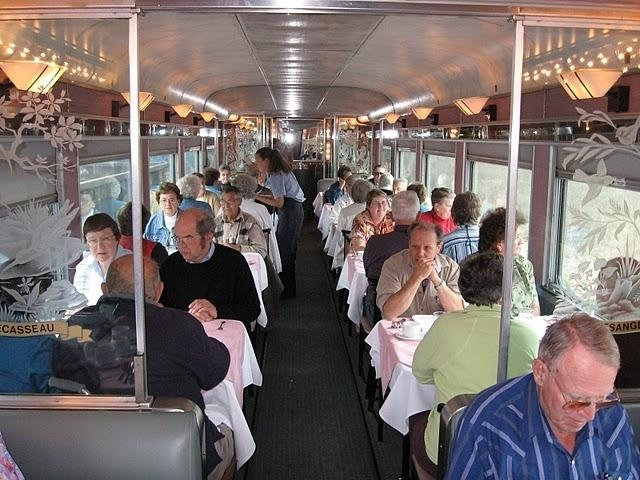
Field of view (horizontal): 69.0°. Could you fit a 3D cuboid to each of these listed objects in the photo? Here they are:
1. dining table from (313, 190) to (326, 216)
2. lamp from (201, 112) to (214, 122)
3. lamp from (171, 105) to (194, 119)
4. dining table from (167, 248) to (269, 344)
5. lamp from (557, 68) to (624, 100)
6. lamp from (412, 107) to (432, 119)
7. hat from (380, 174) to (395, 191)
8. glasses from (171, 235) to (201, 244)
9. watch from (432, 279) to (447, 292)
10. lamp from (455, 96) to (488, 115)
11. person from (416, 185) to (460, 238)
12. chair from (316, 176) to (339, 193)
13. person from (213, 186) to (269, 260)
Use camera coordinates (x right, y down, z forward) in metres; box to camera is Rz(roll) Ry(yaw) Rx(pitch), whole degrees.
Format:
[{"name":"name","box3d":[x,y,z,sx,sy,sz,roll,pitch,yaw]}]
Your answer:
[{"name":"dining table","box3d":[-0.171,-1.141,14.539,0.567,0.713,0.635,-1,6,-13]},{"name":"lamp","box3d":[-2.647,-2.958,11.008,0.294,0.126,0.295,-4,0,-17]},{"name":"lamp","box3d":[-2.427,-2.321,8.265,0.324,0.148,0.326,-5,-3,-10]},{"name":"dining table","box3d":[-1.114,0.451,4.475,1.039,0.893,0.632,7,30,8]},{"name":"lamp","box3d":[1.681,-0.995,2.978,0.179,0.212,0.411,-5,12,-24]},{"name":"lamp","box3d":[1.941,-2.412,8.810,0.233,0.217,0.596,-1,11,-6]},{"name":"hat","box3d":[1.470,-1.277,10.328,0.370,0.516,0.395,1,21,3]},{"name":"glasses","box3d":[-1.177,-0.013,4.134,0.227,0.076,0.076,2,12,9]},{"name":"watch","box3d":[1.077,0.412,4.167,0.096,0.032,0.102,7,24,23]},{"name":"lamp","box3d":[2.119,-1.882,6.488,0.185,0.225,0.657,-3,12,-15]},{"name":"person","box3d":[1.566,-0.375,6.157,0.394,0.659,0.757,17,25,39]},{"name":"chair","box3d":[0.191,-1.859,15.390,0.543,0.512,0.760,1,11,7]},{"name":"person","box3d":[-1.280,-0.229,6.715,1.063,1.019,0.617,1,7,13]}]
